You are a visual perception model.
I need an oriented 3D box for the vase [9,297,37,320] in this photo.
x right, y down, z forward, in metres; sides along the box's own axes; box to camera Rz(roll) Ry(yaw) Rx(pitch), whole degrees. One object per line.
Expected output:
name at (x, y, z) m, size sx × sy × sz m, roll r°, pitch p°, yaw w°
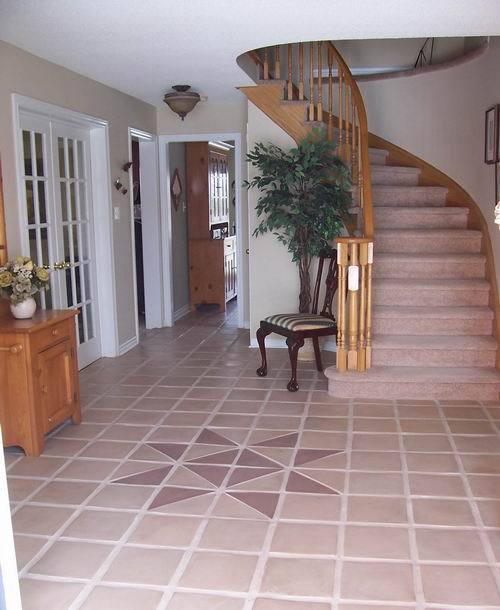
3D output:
vase at (-1.362, 0.025, 2.983) m, size 0.145 × 0.128 × 0.138 m, roll 0°, pitch 18°, yaw -6°

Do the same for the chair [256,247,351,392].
chair at (0.432, 0.103, 4.305) m, size 0.855 × 1.088 × 0.853 m, roll 1°, pitch 8°, yaw 16°

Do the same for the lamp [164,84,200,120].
lamp at (-0.732, -2.153, 5.243) m, size 0.273 × 0.235 × 0.250 m, roll 2°, pitch 9°, yaw 19°
